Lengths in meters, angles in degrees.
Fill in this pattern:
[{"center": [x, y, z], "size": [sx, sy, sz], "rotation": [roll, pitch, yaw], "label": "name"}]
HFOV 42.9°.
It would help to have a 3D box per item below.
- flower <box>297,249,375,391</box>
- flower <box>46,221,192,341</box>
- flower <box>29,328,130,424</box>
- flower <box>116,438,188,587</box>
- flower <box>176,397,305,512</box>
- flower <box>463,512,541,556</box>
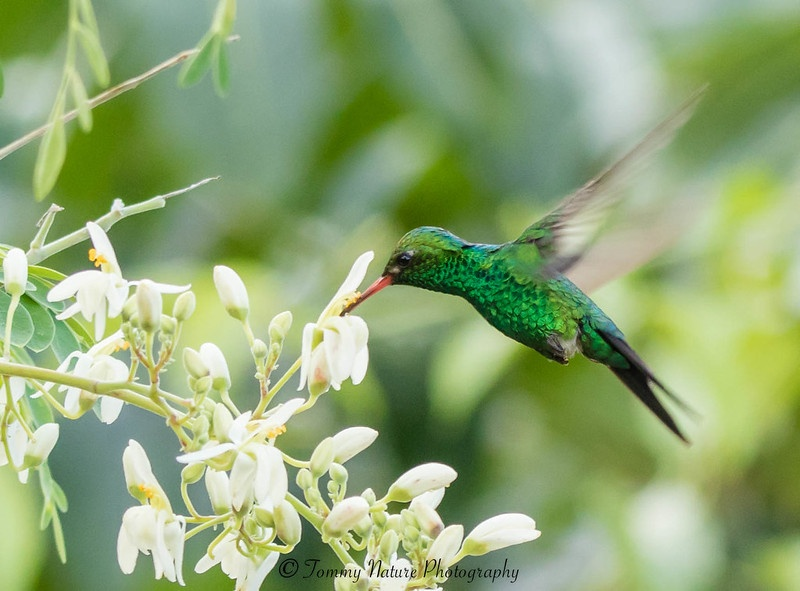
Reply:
[{"center": [-0.183, 0.068, 2.906], "size": [0.192, 0.427, 0.236], "rotation": [2, -25, -5], "label": "flower"}, {"center": [-0.820, -0.067, 2.909], "size": [0.318, 0.237, 0.329], "rotation": [5, 10, 4], "label": "flower"}, {"center": [-0.894, 0.215, 2.865], "size": [0.243, 0.274, 0.350], "rotation": [9, -27, -19], "label": "flower"}, {"center": [-0.679, 0.603, 2.813], "size": [0.197, 0.426, 0.275], "rotation": [6, -26, -13], "label": "flower"}, {"center": [-0.393, 0.424, 2.684], "size": [0.245, 0.284, 0.144], "rotation": [-23, -12, -23], "label": "flower"}, {"center": [0.284, 0.673, 2.889], "size": [0.213, 0.137, 0.145], "rotation": [-3, -26, 5], "label": "flower"}]
